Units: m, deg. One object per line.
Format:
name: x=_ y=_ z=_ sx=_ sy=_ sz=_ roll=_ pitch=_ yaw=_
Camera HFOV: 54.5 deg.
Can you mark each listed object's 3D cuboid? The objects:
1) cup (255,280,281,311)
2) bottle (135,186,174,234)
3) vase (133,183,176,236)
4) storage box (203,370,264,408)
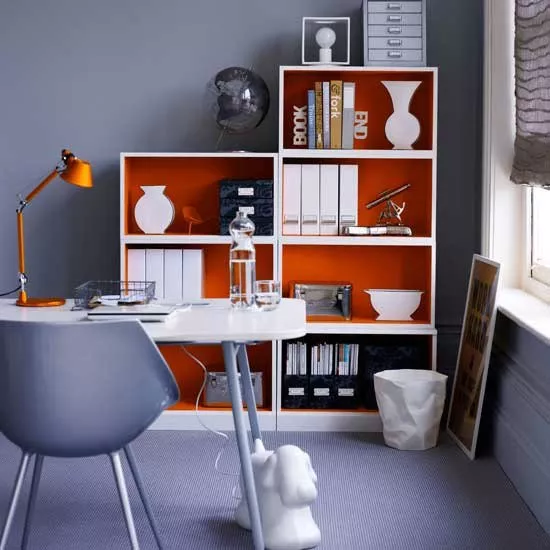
cup: x=-0.023 y=0.070 z=1.673 sx=0.061 sy=0.084 sz=0.089 roll=0 pitch=1 yaw=-1
bottle: x=-0.649 y=-0.343 z=2.823 sx=0.223 sy=0.340 sz=0.098 roll=0 pitch=0 yaw=-4
vase: x=-0.660 y=-0.349 z=2.846 sx=0.233 sy=0.355 sz=0.101 roll=1 pitch=5 yaw=2
storage box: x=-0.267 y=0.613 z=2.954 sx=0.267 sy=0.207 sz=0.293 roll=-1 pitch=1 yaw=-2
